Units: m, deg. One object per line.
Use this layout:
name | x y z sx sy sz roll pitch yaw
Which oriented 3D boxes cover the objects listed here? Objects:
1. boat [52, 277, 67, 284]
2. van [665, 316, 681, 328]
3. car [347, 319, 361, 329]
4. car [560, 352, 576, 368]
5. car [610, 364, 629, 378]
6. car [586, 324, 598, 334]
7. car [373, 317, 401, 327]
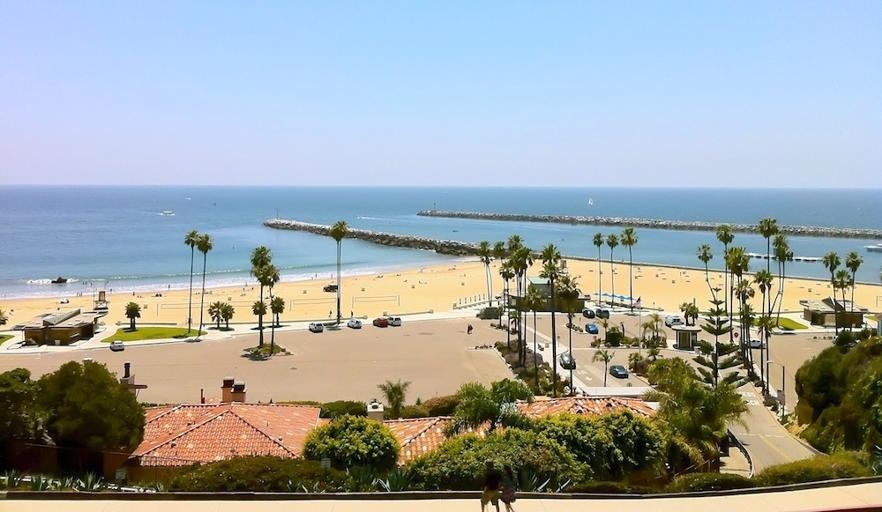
boat | -62.149 4.096 118.597 2.121 0.869 3.172 -2 2 -26
van | 26.247 7.441 82.873 2.391 1.022 1.356 -8 11 -44
car | -9.924 7.793 82.985 1.655 0.793 2.145 -1 2 -12
car | 11.690 9.762 67.533 1.101 0.765 2.237 -1 -6 1
car | 15.893 10.385 65.040 1.422 0.896 1.543 -2 2 -39
car | 16.207 7.932 78.468 1.363 0.926 1.587 -1 2 -5
car | -6.206 7.637 83.152 3.045 0.888 2.054 -1 2 -7
